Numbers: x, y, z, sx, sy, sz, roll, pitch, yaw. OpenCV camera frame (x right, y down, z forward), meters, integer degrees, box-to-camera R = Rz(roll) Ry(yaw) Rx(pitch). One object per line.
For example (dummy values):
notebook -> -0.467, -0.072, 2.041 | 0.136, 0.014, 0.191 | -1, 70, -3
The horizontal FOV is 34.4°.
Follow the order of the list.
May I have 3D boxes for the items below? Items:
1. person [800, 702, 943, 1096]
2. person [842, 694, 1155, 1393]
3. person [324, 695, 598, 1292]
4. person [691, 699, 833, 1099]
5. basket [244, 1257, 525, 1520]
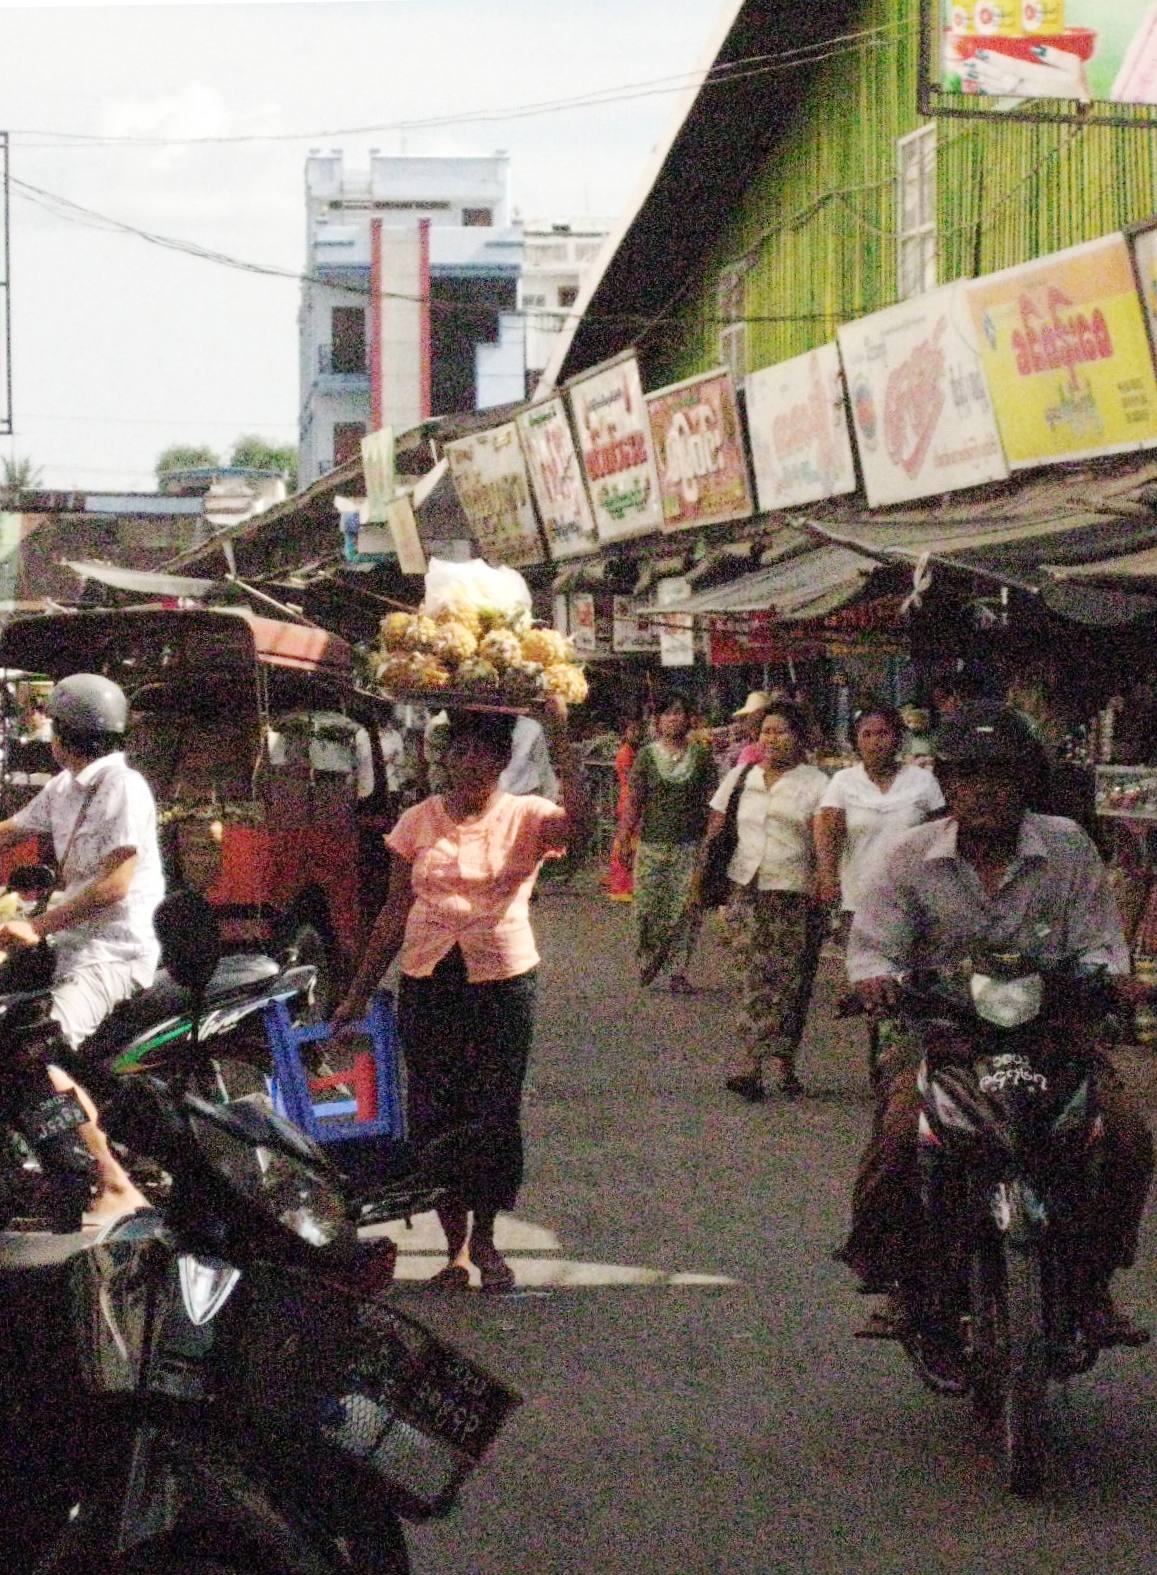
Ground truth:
person -> 1.094, 0.399, 7.210 | 0.530, 1.514, 0.679 | 0, 1, 16
person -> 0.845, 0.442, 3.935 | 0.690, 1.116, 1.479 | 0, 4, 7
person -> -0.258, 0.542, 4.838 | 0.616, 1.391, 0.734 | 1, 1, 22
person -> 0.765, 0.423, 7.592 | 0.606, 1.473, 0.681 | 2, 10, -5
basket -> -0.251, 0.822, 2.615 | 0.263, 0.147, 0.404 | 37, 2, 14
